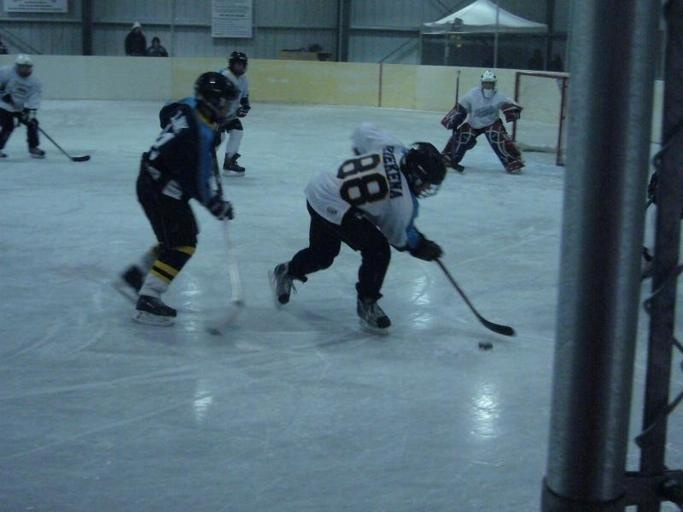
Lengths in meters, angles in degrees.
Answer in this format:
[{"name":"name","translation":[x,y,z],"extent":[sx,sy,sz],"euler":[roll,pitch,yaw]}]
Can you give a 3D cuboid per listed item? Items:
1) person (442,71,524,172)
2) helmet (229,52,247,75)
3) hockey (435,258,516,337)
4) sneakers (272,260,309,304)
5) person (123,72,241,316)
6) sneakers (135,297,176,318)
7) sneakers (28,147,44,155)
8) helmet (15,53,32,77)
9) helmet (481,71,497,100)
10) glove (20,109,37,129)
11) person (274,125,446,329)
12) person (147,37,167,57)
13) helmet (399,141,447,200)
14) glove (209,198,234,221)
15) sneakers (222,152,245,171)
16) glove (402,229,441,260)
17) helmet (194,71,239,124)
[{"name":"person","translation":[1.619,-1.518,9.287],"extent":[0.978,1.095,0.724],"euler":[7,14,24]},{"name":"helmet","translation":[-1.028,-1.919,8.282],"extent":[0.167,0.226,0.320],"euler":[-1,12,-12]},{"name":"hockey","translation":[0.736,0.237,4.566],"extent":[0.098,0.087,0.646],"euler":[7,26,-31]},{"name":"sneakers","translation":[-0.272,0.118,4.418],"extent":[0.148,0.294,0.108],"euler":[8,13,12]},{"name":"person","translation":[-0.756,-0.282,4.039],"extent":[0.499,1.205,0.284],"euler":[1,13,-3]},{"name":"sneakers","translation":[-0.913,0.247,4.115],"extent":[0.238,0.090,0.079],"euler":[11,29,-19]},{"name":"sneakers","translation":[-3.388,-1.167,9.260],"extent":[0.136,0.118,0.065],"euler":[-9,45,-14]},{"name":"helmet","translation":[-3.500,-2.099,9.173],"extent":[0.171,0.241,0.211],"euler":[-2,13,-18]},{"name":"helmet","translation":[1.650,-1.920,9.257],"extent":[0.224,0.248,0.291],"euler":[0,11,11]},{"name":"glove","translation":[-3.398,-1.530,9.264],"extent":[0.240,0.194,0.188],"euler":[-16,22,-38]},{"name":"person","translation":[0.089,-0.129,4.086],"extent":[0.420,0.973,0.785],"euler":[-7,15,-35]},{"name":"person","translation":[-3.758,-4.308,17.086],"extent":[0.573,0.215,0.700],"euler":[2,7,-6]},{"name":"helmet","translation":[0.383,-0.404,3.890],"extent":[0.211,0.252,0.207],"euler":[3,12,4]},{"name":"glove","translation":[-0.581,-0.229,4.061],"extent":[0.105,0.126,0.242],"euler":[2,11,0]},{"name":"sneakers","translation":[-1.100,-0.957,8.408],"extent":[0.299,0.240,0.130],"euler":[0,23,-8]},{"name":"glove","translation":[0.394,-0.057,3.916],"extent":[0.177,0.169,0.136],"euler":[2,12,2]},{"name":"helmet","translation":[-0.593,-0.758,3.970],"extent":[0.213,0.235,0.174],"euler":[0,12,-8]}]
